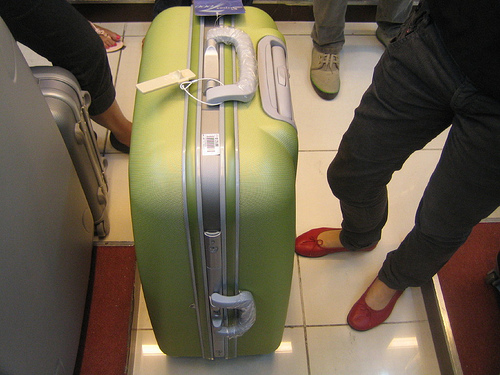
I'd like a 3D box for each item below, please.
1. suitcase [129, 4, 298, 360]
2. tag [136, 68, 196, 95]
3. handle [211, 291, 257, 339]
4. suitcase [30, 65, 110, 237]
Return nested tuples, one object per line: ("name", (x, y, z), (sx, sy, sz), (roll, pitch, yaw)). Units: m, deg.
("suitcase", (-0.096, 0.060, 1.340), (0.455, 0.943, 0.579), (-2, 37, -2))
("tag", (-0.233, -0.293, 1.134), (0.191, 0.023, 0.069), (-19, 52, -20))
("handle", (-0.051, 0.377, 1.239), (0.116, 0.181, 0.055), (3, 44, 3))
("suitcase", (-0.597, -0.123, 1.477), (0.160, 0.584, 0.244), (-19, 40, -23))
